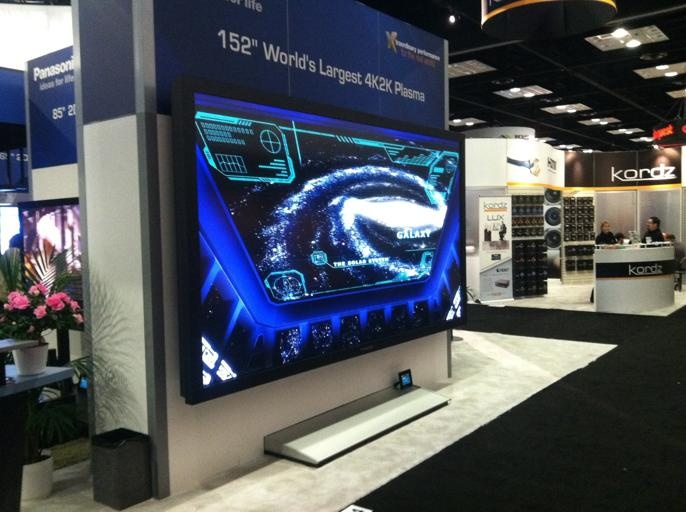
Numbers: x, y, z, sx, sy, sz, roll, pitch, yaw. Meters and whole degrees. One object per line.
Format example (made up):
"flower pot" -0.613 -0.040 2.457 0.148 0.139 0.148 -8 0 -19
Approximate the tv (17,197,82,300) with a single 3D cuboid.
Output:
"tv" -2.286 -0.061 4.056 0.816 0.912 0.066 -8 -3 27

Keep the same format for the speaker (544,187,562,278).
"speaker" 5.125 -0.534 12.505 0.402 2.183 1.130 1 5 23

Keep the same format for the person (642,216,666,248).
"person" 6.426 -0.510 10.598 0.434 0.678 0.788 7 10 32

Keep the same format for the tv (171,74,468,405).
"tv" -0.203 -0.125 3.808 3.065 1.932 0.232 -5 6 -44

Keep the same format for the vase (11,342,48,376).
"vase" -1.819 0.586 3.011 0.176 0.179 0.142 -4 5 -31
